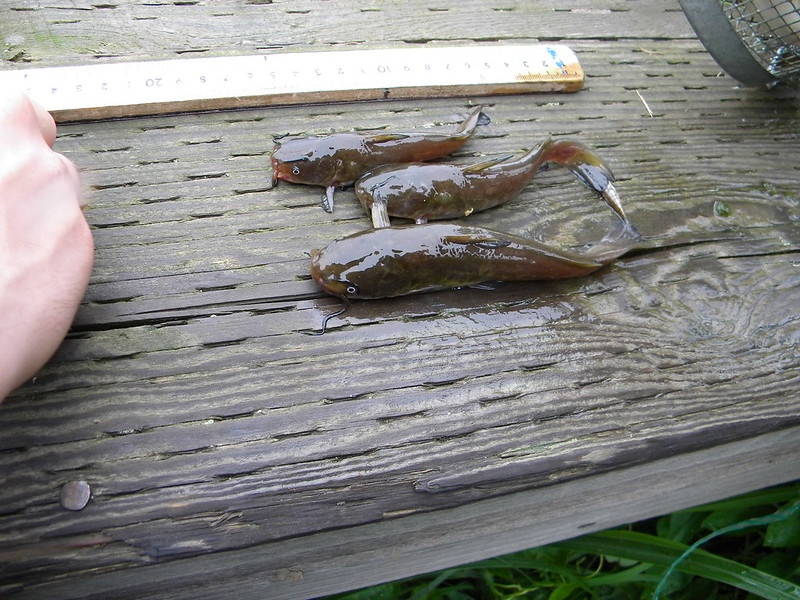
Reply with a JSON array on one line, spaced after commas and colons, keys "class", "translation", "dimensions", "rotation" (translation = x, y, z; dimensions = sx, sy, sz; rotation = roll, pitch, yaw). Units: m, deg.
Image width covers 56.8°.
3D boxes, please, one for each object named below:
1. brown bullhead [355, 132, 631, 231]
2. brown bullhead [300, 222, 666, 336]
[{"class": "brown bullhead", "translation": [0.376, -0.513, 3.302], "dimensions": [1.190, 0.245, 0.393], "rotation": [-12, 76, -14]}, {"class": "brown bullhead", "translation": [0.397, -0.135, 3.034], "dimensions": [1.620, 0.361, 0.139], "rotation": [-5, 103, -12]}]
